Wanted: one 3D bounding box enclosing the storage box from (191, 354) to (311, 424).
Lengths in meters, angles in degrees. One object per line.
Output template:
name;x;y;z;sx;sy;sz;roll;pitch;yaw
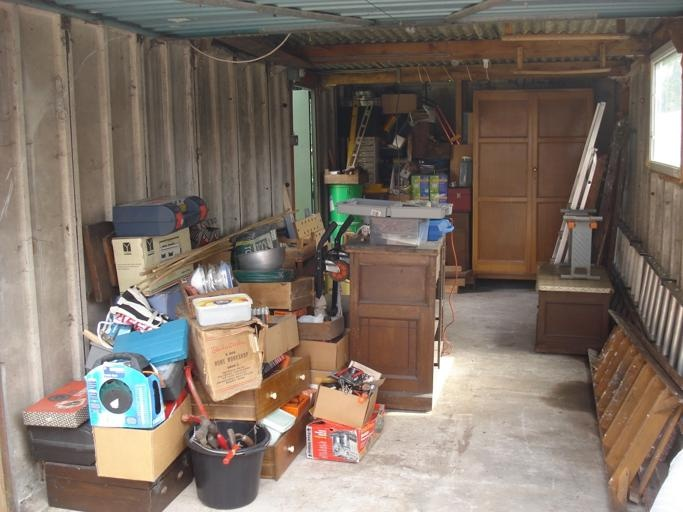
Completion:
storage box;-0.683;0.866;4.155;0.371;0.181;0.640;2;8;21

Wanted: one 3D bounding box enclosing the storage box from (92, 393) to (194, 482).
storage box;-1.325;1.233;3.820;0.467;0.318;0.628;1;5;10

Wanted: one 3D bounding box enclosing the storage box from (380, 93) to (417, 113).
storage box;0.947;-2.529;9.438;0.634;0.321;0.387;2;4;6

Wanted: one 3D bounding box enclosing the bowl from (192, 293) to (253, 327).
bowl;-0.805;0.366;3.931;0.313;0.107;0.222;-5;12;-18

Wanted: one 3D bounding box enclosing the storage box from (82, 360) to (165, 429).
storage box;-1.369;0.885;3.627;0.468;0.410;0.161;2;13;8

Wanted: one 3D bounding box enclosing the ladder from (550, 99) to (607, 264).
ladder;3.181;-0.996;7.691;0.474;2.030;2.112;5;14;23

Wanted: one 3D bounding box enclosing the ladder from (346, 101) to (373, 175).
ladder;0.322;-2.014;9.933;0.185;1.525;0.132;13;-17;26

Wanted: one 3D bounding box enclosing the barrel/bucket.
barrel/bucket;-0.764;1.371;3.934;0.569;0.411;0.547;2;3;0

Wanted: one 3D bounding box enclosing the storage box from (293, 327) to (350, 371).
storage box;-0.136;0.813;4.985;0.319;0.183;0.312;0;5;8

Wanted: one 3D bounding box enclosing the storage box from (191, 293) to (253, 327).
storage box;-0.812;0.363;3.930;0.313;0.108;0.222;-5;12;-18

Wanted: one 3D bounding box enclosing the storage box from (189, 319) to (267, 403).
storage box;-0.782;0.743;3.964;0.529;0.606;0.346;-3;13;-9

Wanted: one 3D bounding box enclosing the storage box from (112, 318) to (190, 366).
storage box;-1.216;0.567;3.921;0.448;0.100;0.315;-4;28;14

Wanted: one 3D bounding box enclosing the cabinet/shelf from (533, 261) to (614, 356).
cabinet/shelf;2.575;0.611;6.451;0.749;0.632;1.339;2;5;17

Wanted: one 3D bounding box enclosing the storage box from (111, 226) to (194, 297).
storage box;-1.481;0.032;4.639;0.301;0.429;0.638;7;15;31

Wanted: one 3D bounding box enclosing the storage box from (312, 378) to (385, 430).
storage box;0.044;1.135;4.335;0.351;0.211;0.350;15;0;-23

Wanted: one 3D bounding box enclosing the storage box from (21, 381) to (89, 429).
storage box;-1.862;1.009;3.804;0.251;0.071;0.363;1;11;-1

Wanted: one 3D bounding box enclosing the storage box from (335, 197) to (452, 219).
storage box;0.442;-0.394;4.979;0.693;0.113;0.395;3;8;13

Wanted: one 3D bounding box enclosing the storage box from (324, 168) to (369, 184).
storage box;0.069;-1.248;9.289;0.416;0.153;0.372;2;13;14

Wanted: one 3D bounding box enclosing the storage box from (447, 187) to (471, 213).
storage box;1.816;-0.814;9.171;0.526;0.480;0.381;0;4;7
